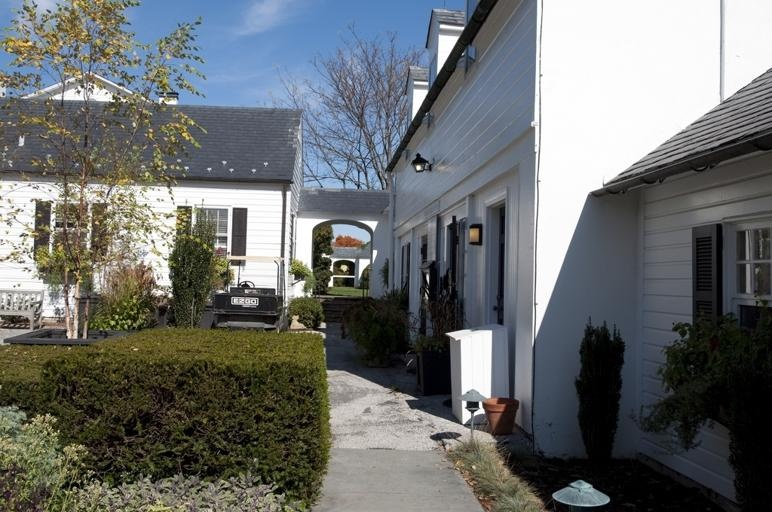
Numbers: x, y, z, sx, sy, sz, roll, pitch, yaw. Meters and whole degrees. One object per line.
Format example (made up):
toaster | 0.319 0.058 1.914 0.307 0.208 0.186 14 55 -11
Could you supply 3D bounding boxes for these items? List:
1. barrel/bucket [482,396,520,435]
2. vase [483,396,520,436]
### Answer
barrel/bucket | 1.456 2.033 8.362 0.415 0.347 0.428 1 -4 0
vase | 1.468 2.065 8.530 0.497 0.431 0.531 0 2 4
